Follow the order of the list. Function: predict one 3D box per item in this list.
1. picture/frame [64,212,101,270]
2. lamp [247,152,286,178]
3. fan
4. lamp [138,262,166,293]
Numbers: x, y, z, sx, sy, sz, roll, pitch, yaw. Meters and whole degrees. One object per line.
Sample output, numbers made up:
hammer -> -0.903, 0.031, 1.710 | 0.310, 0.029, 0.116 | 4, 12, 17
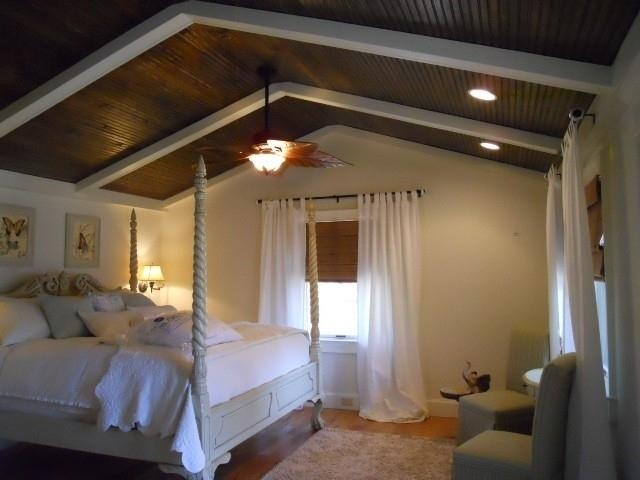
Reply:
picture/frame -> -2.831, 0.015, 5.760 | 0.041, 0.872, 0.618 | -4, -6, 25
lamp -> -0.486, -0.734, 4.443 | 0.267, 0.210, 0.261 | -1, -1, 31
fan -> -0.469, -1.154, 4.449 | 1.005, 0.788, 1.243 | 15, 24, 32
lamp -> -2.241, 0.494, 6.493 | 0.334, 0.468, 0.334 | -7, -9, 38
